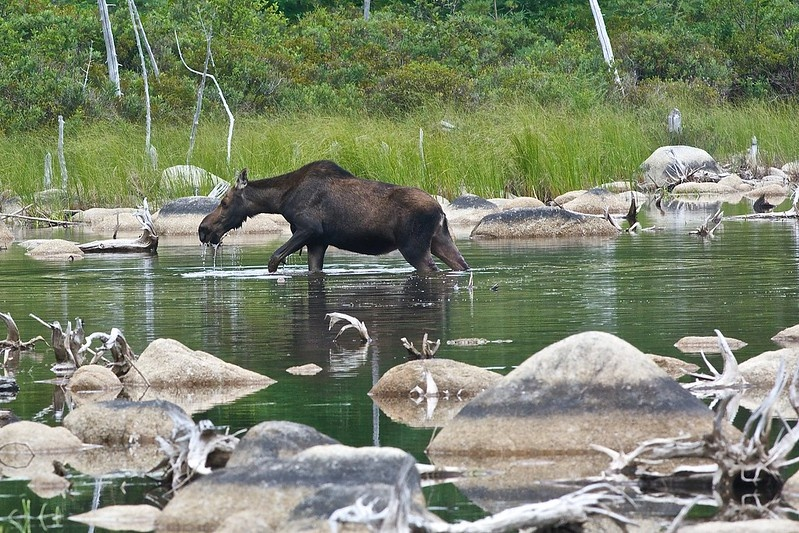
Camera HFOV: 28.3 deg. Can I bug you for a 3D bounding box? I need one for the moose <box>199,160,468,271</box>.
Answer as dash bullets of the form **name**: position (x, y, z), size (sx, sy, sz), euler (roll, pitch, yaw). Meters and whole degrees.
- **moose**: position (-0.881, -0.746, 24.368), size (3.740, 1.842, 0.825), euler (-3, 6, 16)
